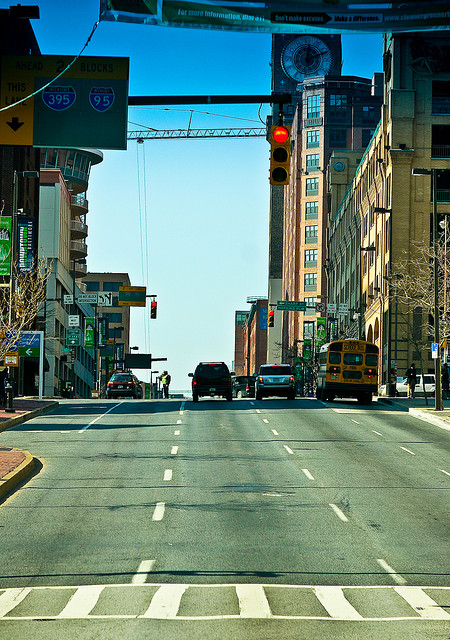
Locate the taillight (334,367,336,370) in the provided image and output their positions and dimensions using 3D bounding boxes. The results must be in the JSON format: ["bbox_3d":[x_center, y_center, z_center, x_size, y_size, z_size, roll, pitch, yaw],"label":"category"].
[{"bbox_3d":[4.896,2.193,41.745,0.081,0.116,0.088,7,-3,-11],"label":"taillight"}]

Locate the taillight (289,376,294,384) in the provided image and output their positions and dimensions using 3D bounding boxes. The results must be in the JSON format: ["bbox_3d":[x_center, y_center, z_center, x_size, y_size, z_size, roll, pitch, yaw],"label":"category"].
[{"bbox_3d":[3.212,2.925,45.222,0.157,0.362,0.331,-2,-4,32],"label":"taillight"}]

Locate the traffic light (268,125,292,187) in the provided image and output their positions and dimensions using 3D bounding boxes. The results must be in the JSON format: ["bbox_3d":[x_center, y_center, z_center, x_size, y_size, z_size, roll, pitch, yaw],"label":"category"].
[{"bbox_3d":[0.943,-2.758,15.818,0.323,1.204,0.262,-2,-20,10],"label":"traffic light"}]

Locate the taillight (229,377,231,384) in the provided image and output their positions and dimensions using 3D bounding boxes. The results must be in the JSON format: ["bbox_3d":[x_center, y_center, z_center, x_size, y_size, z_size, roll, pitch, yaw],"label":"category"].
[{"bbox_3d":[0.241,3.008,45.825,0.143,0.313,0.154,-1,-4,26],"label":"taillight"}]

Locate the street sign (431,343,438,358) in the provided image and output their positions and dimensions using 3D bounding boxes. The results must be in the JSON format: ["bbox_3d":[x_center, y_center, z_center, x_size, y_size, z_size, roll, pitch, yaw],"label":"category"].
[{"bbox_3d":[8.446,1.243,37.659,0.196,0.601,0.875,0,-4,12],"label":"street sign"}]

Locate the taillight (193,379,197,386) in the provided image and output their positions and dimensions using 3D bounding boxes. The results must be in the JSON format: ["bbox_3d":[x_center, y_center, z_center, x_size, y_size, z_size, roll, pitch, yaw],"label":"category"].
[{"bbox_3d":[-1.455,3.059,45.537,0.192,0.429,0.199,4,-10,-13],"label":"taillight"}]

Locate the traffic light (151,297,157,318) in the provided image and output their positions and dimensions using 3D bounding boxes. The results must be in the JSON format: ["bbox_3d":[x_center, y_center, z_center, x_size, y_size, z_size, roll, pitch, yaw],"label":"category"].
[{"bbox_3d":[-4.141,-0.599,53.995,0.288,0.955,0.923,1,-3,-11],"label":"traffic light"}]

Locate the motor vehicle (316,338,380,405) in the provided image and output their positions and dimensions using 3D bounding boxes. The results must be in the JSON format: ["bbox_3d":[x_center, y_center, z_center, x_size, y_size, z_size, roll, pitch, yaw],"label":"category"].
[{"bbox_3d":[5.692,2.345,43.165,2.599,2.893,3.518,0,-3,9],"label":"motor vehicle"}]

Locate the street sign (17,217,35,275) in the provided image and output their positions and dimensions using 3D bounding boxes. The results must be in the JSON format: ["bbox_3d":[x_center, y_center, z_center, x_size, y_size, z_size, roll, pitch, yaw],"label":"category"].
[{"bbox_3d":[-11.150,-4.195,52.424,1.271,3.194,0.835,-1,-3,30],"label":"street sign"}]

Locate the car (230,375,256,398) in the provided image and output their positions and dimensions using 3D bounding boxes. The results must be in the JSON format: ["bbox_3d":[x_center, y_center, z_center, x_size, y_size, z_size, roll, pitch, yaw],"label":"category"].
[{"bbox_3d":[1.229,4.750,64.837,1.175,1.166,2.346,0,3,-11],"label":"car"}]

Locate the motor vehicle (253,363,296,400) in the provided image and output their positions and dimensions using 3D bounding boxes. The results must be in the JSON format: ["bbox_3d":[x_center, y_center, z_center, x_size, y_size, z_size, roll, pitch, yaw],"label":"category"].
[{"bbox_3d":[2.408,3.044,45.977,1.673,1.692,2.999,2,-3,-1],"label":"motor vehicle"}]

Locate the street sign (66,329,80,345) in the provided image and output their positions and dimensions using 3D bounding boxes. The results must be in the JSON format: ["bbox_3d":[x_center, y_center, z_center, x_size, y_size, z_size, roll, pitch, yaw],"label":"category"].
[{"bbox_3d":[-12.018,1.405,74.090,1.019,1.230,0.597,1,-6,-3],"label":"street sign"}]

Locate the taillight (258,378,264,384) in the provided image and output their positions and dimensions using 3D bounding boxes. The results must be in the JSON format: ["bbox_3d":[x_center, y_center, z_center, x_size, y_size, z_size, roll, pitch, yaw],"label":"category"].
[{"bbox_3d":[1.740,3.010,45.407,0.182,0.390,0.219,7,-29,-5],"label":"taillight"}]

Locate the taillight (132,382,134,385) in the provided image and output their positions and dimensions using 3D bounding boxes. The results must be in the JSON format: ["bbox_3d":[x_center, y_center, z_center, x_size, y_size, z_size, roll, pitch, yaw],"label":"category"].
[{"bbox_3d":[-5.647,3.906,57.199,0.103,0.164,0.158,1,-6,-3],"label":"taillight"}]

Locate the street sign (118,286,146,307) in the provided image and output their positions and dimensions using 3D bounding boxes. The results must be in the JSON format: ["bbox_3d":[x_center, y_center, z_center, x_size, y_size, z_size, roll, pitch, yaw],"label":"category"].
[{"bbox_3d":[-6.986,-1.736,69.782,1.899,1.638,2.626,1,-4,-7],"label":"street sign"}]

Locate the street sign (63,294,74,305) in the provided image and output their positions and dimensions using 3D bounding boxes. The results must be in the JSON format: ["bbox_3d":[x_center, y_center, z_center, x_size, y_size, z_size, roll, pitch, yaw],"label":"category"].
[{"bbox_3d":[-12.062,-1.549,71.843,0.950,1.090,0.339,0,-13,-3],"label":"street sign"}]

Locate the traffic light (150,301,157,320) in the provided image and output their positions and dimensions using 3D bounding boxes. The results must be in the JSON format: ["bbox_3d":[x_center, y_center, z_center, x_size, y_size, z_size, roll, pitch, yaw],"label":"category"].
[{"bbox_3d":[-4.173,-0.584,54.280,0.254,0.946,0.348,1,-3,-15],"label":"traffic light"}]

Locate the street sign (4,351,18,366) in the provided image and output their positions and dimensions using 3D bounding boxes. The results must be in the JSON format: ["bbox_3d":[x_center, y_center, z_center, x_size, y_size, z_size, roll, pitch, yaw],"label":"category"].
[{"bbox_3d":[-8.032,1.463,35.034,0.472,0.527,0.956,1,-4,-16],"label":"street sign"}]

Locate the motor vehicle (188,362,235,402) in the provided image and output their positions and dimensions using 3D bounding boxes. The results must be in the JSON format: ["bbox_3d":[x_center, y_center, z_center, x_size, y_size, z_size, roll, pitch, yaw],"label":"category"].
[{"bbox_3d":[-0.705,3.039,46.356,2.090,2.332,5.581,0,-3,-1],"label":"motor vehicle"}]

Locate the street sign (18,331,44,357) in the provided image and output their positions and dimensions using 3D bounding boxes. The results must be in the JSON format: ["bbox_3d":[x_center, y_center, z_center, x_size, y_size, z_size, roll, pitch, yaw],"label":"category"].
[{"bbox_3d":[-9.420,1.134,45.191,1.375,0.166,1.607,-1,-48,15],"label":"street sign"}]

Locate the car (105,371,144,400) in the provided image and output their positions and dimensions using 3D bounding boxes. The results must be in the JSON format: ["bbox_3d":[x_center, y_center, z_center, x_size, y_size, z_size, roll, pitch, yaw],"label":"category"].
[{"bbox_3d":[-6.362,4.073,57.659,1.658,1.656,4.042,0,-4,-3],"label":"car"}]
